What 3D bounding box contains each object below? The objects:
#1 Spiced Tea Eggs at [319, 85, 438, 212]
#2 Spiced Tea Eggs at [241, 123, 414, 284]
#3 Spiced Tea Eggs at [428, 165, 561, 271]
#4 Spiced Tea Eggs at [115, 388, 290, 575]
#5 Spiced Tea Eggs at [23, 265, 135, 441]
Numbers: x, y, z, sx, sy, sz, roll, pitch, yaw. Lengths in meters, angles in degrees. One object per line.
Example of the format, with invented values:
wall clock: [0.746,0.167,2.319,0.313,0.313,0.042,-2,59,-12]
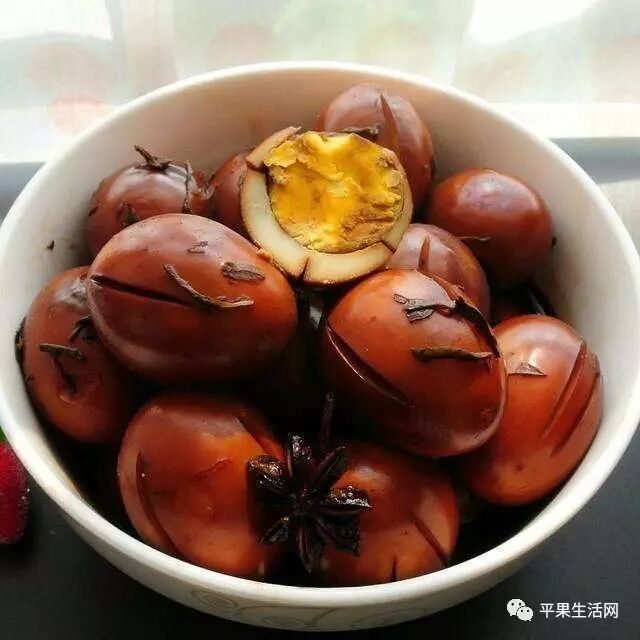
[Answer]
Spiced Tea Eggs: [0.048,-0.193,0.873,0.115,0.079,0.131,1,71,-32]
Spiced Tea Eggs: [0.002,-0.110,0.742,0.162,0.059,0.156,-24,75,-14]
Spiced Tea Eggs: [0.186,-0.105,0.882,0.132,0.100,0.095,36,97,3]
Spiced Tea Eggs: [-0.099,0.129,0.672,0.122,0.089,0.144,-33,92,20]
Spiced Tea Eggs: [-0.206,0.032,0.746,0.113,0.093,0.145,-4,86,-2]
